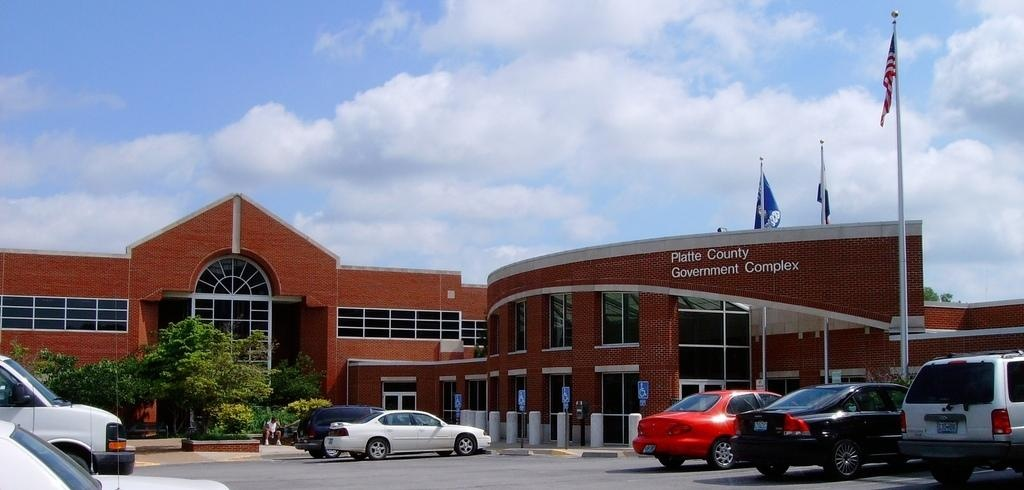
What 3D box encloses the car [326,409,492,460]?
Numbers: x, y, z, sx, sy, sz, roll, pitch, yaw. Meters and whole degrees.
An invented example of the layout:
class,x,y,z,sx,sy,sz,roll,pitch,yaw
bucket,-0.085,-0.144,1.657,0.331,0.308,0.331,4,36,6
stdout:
class,x,y,z,sx,sy,sz,roll,pitch,yaw
car,-5.995,10.527,59.828,8.038,1.976,3.183,-1,-5,-16
